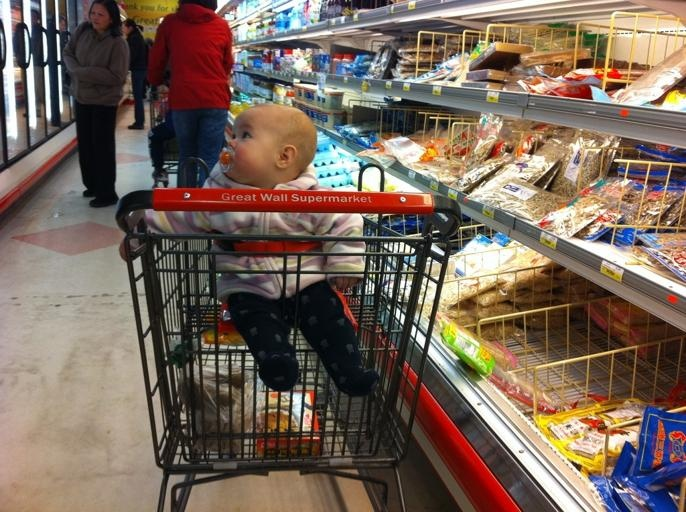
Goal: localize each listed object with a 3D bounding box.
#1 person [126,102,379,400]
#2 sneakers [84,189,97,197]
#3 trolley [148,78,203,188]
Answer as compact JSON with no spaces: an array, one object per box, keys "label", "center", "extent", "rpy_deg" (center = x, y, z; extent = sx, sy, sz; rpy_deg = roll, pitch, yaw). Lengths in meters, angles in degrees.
[{"label":"person","center":[-0.246,-0.047,1.476],"extent":[0.668,0.724,0.637],"rpy_deg":[0,27,-10]},{"label":"sneakers","center":[-2.619,-0.663,5.122],"extent":[0.132,0.080,0.075],"rpy_deg":[-1,11,20]},{"label":"trolley","center":[-1.638,-1.256,4.774],"extent":[0.559,0.827,0.949],"rpy_deg":[-6,-2,-16]}]
